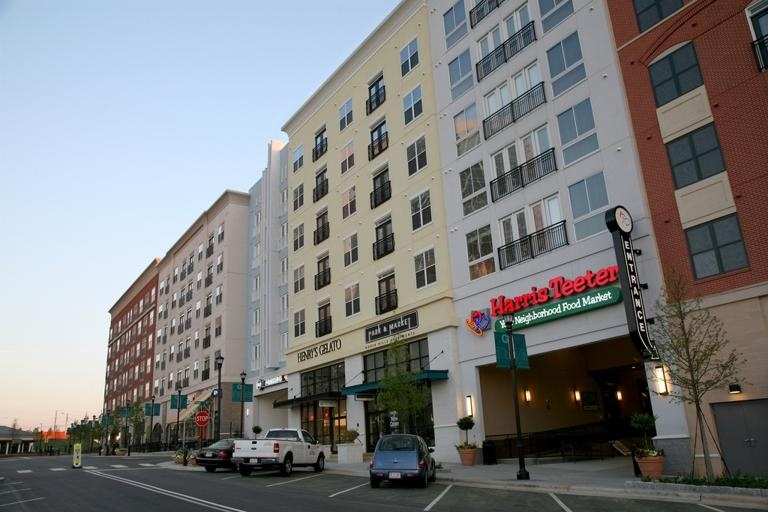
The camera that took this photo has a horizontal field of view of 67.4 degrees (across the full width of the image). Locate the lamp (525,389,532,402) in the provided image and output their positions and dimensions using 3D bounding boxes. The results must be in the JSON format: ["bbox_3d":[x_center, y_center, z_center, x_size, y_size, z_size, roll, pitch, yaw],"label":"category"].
[{"bbox_3d":[8.779,8.439,34.993,0.180,0.699,0.612,-22,-28,37],"label":"lamp"}]

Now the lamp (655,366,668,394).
[{"bbox_3d":[12.367,5.530,25.624,0.279,1.273,0.630,4,-24,-20],"label":"lamp"}]

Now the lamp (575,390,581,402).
[{"bbox_3d":[12.758,9.160,37.919,0.596,0.709,0.157,15,-29,-38],"label":"lamp"}]

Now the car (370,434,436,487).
[{"bbox_3d":[0.995,8.877,25.544,1.702,1.289,2.942,-1,-12,10],"label":"car"}]

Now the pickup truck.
[{"bbox_3d":[-5.288,10.159,30.478,2.441,1.737,4.473,-10,-16,32],"label":"pickup truck"}]

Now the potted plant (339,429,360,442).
[{"bbox_3d":[-2.162,11.184,35.938,0.804,0.922,1.339,3,-24,-16],"label":"potted plant"}]

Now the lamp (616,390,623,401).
[{"bbox_3d":[16.082,9.515,39.332,0.372,0.654,0.369,16,-23,-29],"label":"lamp"}]

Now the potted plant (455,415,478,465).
[{"bbox_3d":[4.538,9.913,31.574,1.081,2.266,1.081,-5,-6,16],"label":"potted plant"}]

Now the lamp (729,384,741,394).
[{"bbox_3d":[14.575,5.493,23.891,0.402,0.288,0.399,2,-4,-37],"label":"lamp"}]
